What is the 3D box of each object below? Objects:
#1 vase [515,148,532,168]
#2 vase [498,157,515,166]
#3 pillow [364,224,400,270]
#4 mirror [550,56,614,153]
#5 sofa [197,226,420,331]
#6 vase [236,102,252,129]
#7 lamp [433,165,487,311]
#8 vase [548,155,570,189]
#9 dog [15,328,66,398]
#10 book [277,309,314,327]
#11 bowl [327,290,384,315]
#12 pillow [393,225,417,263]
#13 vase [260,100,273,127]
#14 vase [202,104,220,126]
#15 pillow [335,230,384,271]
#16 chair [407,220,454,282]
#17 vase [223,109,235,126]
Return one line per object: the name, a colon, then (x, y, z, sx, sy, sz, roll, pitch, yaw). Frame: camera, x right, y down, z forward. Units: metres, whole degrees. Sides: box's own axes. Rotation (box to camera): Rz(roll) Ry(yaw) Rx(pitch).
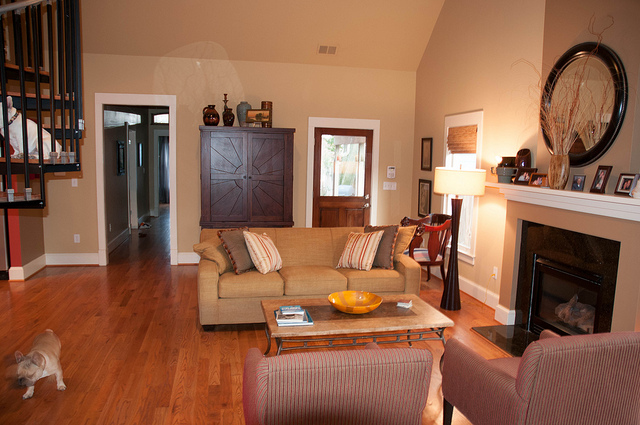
vase: (2.522, -0.681, 5.533, 0.165, 0.212, 0.188, 1, 10, 6)
vase: (2.352, -0.620, 5.654, 0.168, 0.122, 0.092, 2, 8, 25)
pillow: (0.857, 0.449, 5.856, 0.479, 0.514, 0.183, 0, -10, 4)
mirror: (2.837, -1.148, 4.803, 0.067, 0.963, 0.917, 2, 14, -19)
sofa: (-0.208, 0.829, 5.575, 2.537, 1.054, 1.036, -3, 11, -17)
vase: (-1.270, -1.654, 7.463, 0.239, 0.381, 0.186, -2, 11, -10)
lamp: (1.823, 0.339, 5.977, 0.543, 1.925, 0.511, -6, 12, -29)
vase: (2.600, -0.450, 4.876, 0.187, 0.362, 0.118, 5, 12, 27)
dog: (-2.696, 1.372, 4.318, 0.300, 0.446, 0.786, -2, 15, -14)
book: (-0.240, 1.030, 4.263, 0.342, 0.043, 0.177, -2, 10, -12)
bowl: (0.361, 0.916, 4.621, 0.537, 0.108, 0.541, 0, 10, 0)
pillow: (1.045, 0.382, 5.889, 0.115, 0.407, 0.407, 19, 11, 8)
vase: (-0.919, -1.694, 7.604, 0.206, 0.451, 0.338, -1, 10, -7)
vase: (-1.776, -1.622, 7.446, 0.323, 0.407, 0.313, -7, 13, -39)
pillow: (0.504, 0.468, 5.739, 0.155, 0.525, 0.509, 35, -23, -29)
chair: (1.631, 0.509, 6.778, 0.779, 1.132, 0.888, 2, 3, -1)
vase: (-1.511, -1.574, 7.357, 0.225, 0.295, 0.228, 16, 19, 37)
